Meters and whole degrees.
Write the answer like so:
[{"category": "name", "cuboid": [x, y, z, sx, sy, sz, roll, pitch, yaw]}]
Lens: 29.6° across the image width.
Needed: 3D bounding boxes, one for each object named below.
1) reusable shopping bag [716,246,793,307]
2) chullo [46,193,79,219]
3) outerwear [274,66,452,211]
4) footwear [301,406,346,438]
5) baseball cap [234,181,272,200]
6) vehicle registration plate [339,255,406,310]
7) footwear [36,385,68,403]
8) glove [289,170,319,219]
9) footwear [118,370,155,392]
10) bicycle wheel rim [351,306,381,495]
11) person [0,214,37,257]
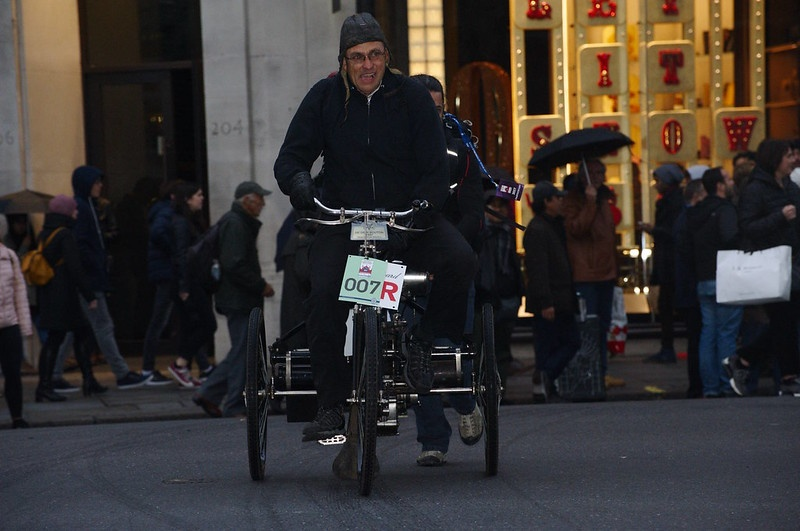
[{"category": "reusable shopping bag", "cuboid": [4.228, 0.110, 17.868, 0.708, 0.505, 0.254, -1, -7, 31]}, {"category": "chullo", "cuboid": [-4.283, -0.766, 19.199, 0.361, 0.279, 0.253, -1, 5, -14]}, {"category": "outerwear", "cuboid": [-0.280, -1.202, 15.025, 2.235, 1.785, 1.243, 0, 3, 2]}, {"category": "footwear", "cuboid": [-0.699, 1.513, 14.375, 0.439, 0.262, 0.207, -1, -5, 1]}, {"category": "baseball cap", "cuboid": [-1.754, -0.902, 18.167, 0.357, 0.154, 0.229, -1, 4, -13]}, {"category": "vehicle registration plate", "cuboid": [-0.265, 0.153, 14.268, 0.483, 0.391, 0.054, 10, -13, 1]}, {"category": "footwear", "cuboid": [-4.362, 1.637, 19.060, 0.458, 0.243, 0.156, -1, -1, -5]}, {"category": "glove", "cuboid": [-0.904, -0.702, 14.274, 0.261, 0.374, 0.293, -1, 2, -4]}, {"category": "footwear", "cuboid": [-3.459, 1.512, 19.922, 0.482, 0.197, 0.176, -3, 5, -18]}, {"category": "bicycle wheel rim", "cuboid": [-0.284, 1.304, 14.228, 0.242, 1.808, 0.418, -1, 2, -2]}, {"category": "person", "cuboid": [-5.167, -0.403, 20.417, 0.530, 0.639, 0.376, -9, 2, -34]}]
